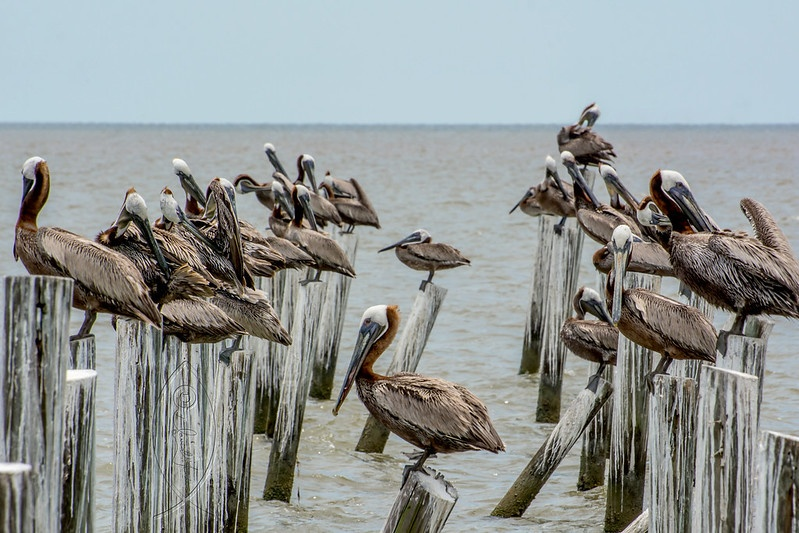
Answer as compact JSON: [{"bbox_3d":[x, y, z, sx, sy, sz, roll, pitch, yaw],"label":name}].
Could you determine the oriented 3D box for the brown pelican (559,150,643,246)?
[{"bbox_3d":[2.672,-0.955,24.232,1.567,1.364,0.558,17,37,40],"label":"brown pelican"}]

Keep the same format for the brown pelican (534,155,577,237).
[{"bbox_3d":[2.341,-1.129,26.469,0.873,0.972,0.405,-4,19,-13],"label":"brown pelican"}]
